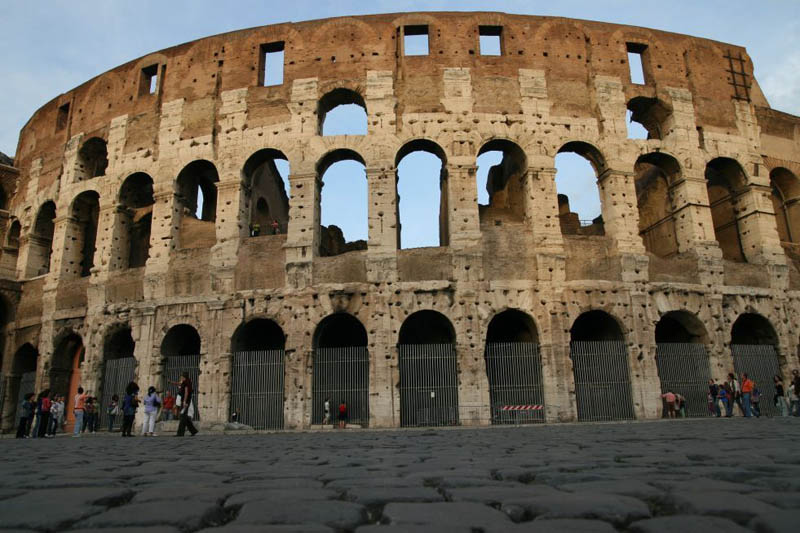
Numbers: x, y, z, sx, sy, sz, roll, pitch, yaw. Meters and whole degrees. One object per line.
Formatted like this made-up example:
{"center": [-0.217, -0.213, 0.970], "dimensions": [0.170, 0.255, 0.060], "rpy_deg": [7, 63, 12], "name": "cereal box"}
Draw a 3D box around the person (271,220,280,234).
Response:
{"center": [-5.313, -1.659, 23.811], "dimensions": [0.314, 0.891, 0.362], "rpy_deg": [7, -23, -11], "name": "person"}
